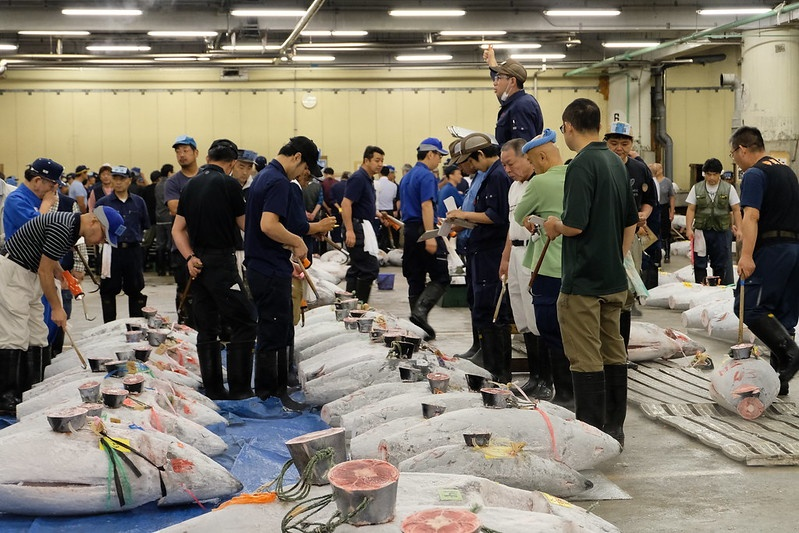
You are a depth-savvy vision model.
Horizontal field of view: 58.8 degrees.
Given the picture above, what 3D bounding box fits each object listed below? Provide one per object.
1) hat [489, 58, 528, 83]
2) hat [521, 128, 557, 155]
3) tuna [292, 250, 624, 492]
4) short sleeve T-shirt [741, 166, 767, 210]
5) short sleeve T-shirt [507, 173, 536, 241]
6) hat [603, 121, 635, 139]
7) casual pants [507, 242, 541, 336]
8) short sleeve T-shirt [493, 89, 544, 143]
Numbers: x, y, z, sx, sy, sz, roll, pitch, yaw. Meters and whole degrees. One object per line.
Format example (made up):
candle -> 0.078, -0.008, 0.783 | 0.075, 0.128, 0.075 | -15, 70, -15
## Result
hat -> 1.219, -2.196, 7.918 | 0.403, 0.210, 0.275 | 15, 15, 0
hat -> 1.289, -1.154, 6.579 | 0.303, 0.231, 0.355 | 1, 11, 8
tuna -> 0.079, 1.178, 6.246 | 1.749, 0.668, 3.165 | -8, 13, -32
short sleeve T-shirt -> 3.533, -0.785, 7.098 | 0.196, 0.408, 0.248 | 9, 15, 44
short sleeve T-shirt -> 1.176, -0.525, 6.933 | 0.212, 0.603, 0.272 | -3, -8, -12
hat -> 2.688, -1.669, 8.709 | 0.309, 0.205, 0.345 | 2, 11, 16
casual pants -> 1.129, 0.239, 7.009 | 0.375, 0.859, 0.236 | 5, -28, -32
short sleeve T-shirt -> 1.323, -1.576, 8.001 | 0.500, 0.706, 0.911 | 0, 12, 2
